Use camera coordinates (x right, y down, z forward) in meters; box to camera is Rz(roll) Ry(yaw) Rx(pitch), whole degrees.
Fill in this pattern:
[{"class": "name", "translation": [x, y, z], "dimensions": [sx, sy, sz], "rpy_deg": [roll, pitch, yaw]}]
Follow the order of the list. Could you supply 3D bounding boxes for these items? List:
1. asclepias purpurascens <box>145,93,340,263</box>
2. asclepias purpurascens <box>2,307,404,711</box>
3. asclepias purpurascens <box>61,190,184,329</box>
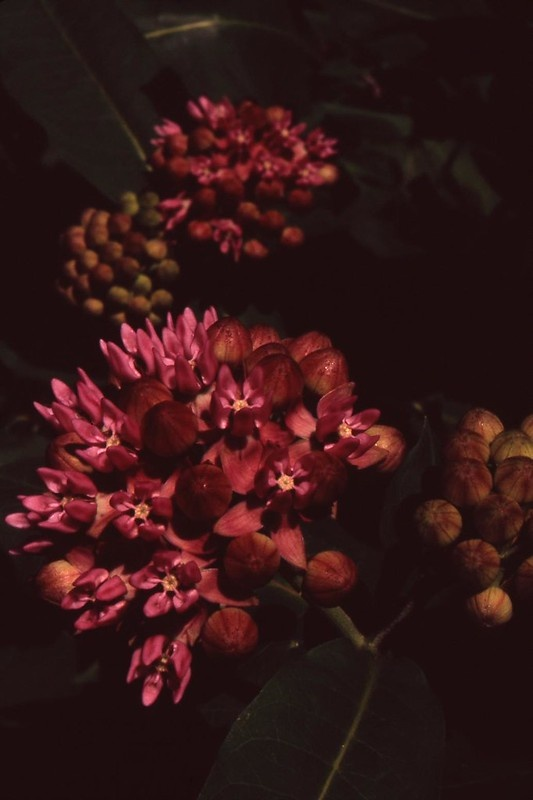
[{"class": "asclepias purpurascens", "translation": [-0.042, -0.206, 0.749], "dimensions": [0.173, 0.155, 0.057], "rpy_deg": [-24, 0, -11]}, {"class": "asclepias purpurascens", "translation": [-0.053, 0.063, 0.675], "dimensions": [0.357, 0.309, 0.117], "rpy_deg": [-13, -8, 4]}, {"class": "asclepias purpurascens", "translation": [-0.133, -0.126, 0.720], "dimensions": [0.102, 0.053, 0.117], "rpy_deg": [-1, 59, -11]}]
